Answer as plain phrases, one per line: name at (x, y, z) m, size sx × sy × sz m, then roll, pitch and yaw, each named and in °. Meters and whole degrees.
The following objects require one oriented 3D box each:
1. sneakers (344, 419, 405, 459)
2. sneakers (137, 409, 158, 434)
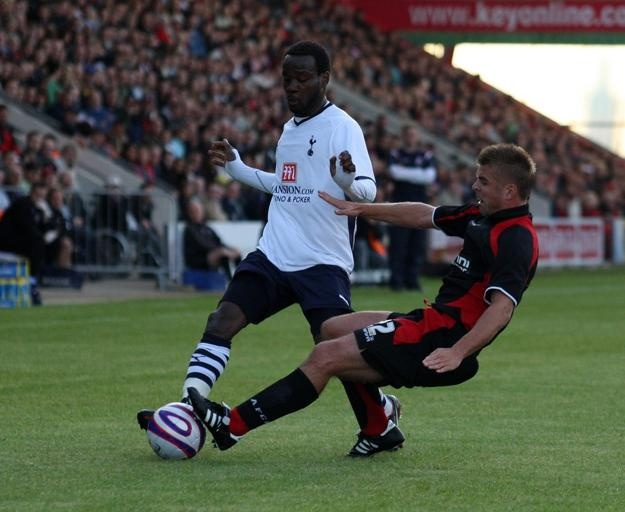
sneakers at (0.422, 1.172, 8.546) m, size 0.483 × 0.205 × 0.154 m, roll -14°, pitch -5°, yaw -3°
sneakers at (-1.047, 1.027, 8.416) m, size 0.108 × 0.127 × 0.133 m, roll 3°, pitch -11°, yaw -4°
